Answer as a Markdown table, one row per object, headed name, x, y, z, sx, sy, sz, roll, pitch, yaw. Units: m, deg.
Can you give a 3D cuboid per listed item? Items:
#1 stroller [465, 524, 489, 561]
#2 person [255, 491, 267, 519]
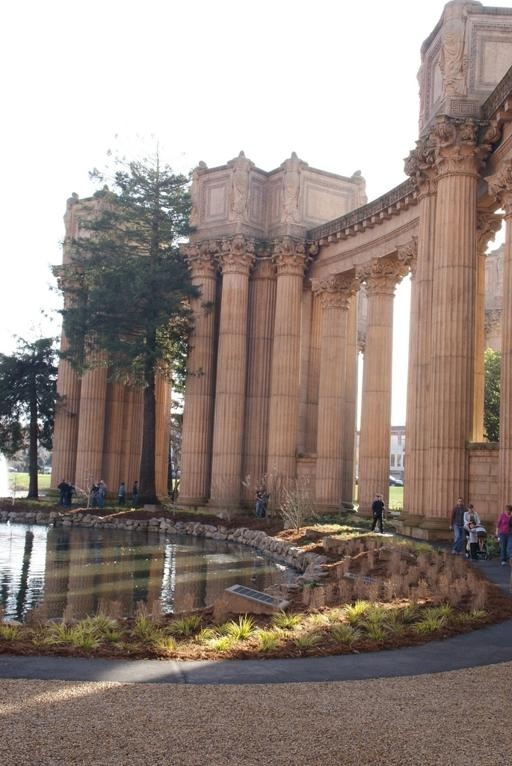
| name | x | y | z | sx | sy | sz | roll | pitch | yaw |
| --- | --- | --- | --- | --- | --- | --- | --- | --- | --- |
| stroller | 5.173 | 3.705 | 18.100 | 0.413 | 0.745 | 0.538 | -1 | -8 | 17 |
| person | 0.265 | 5.142 | 33.198 | 0.483 | 1.099 | 1.284 | 2 | -8 | 2 |
